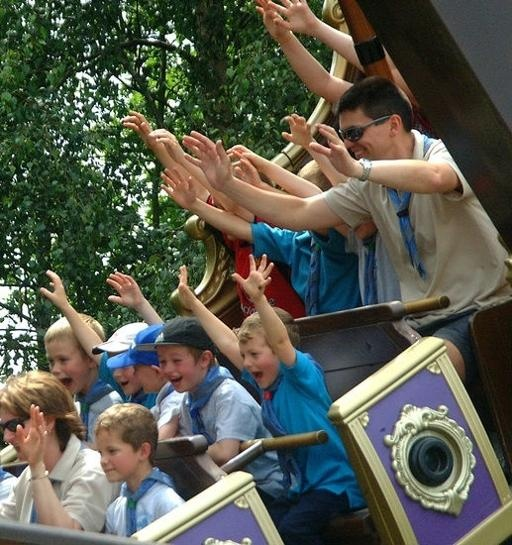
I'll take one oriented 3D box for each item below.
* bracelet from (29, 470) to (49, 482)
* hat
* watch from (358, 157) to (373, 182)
[{"bbox_3d":[-0.689,0.645,3.119,0.041,0.026,0.084,-31,-21,21],"label":"bracelet"},{"bbox_3d":[-0.379,0.271,3.921,0.307,0.119,0.201,-5,-5,10],"label":"hat"},{"bbox_3d":[0.366,-0.340,3.259,0.040,0.067,0.068,3,-45,5],"label":"watch"}]
